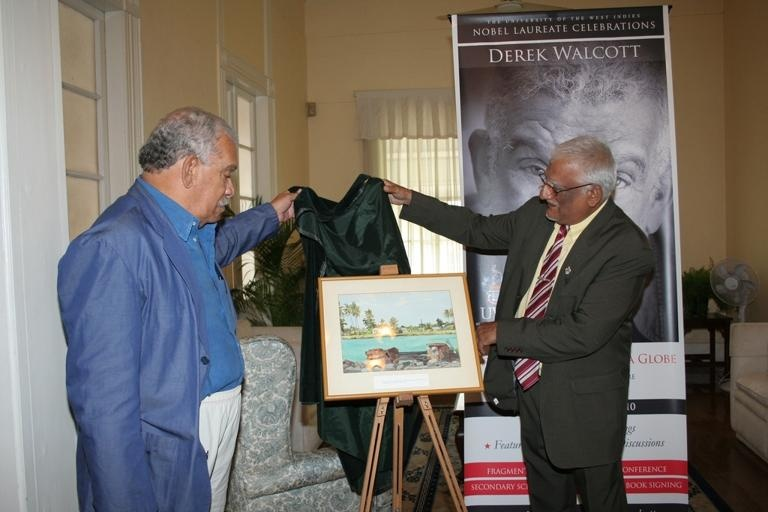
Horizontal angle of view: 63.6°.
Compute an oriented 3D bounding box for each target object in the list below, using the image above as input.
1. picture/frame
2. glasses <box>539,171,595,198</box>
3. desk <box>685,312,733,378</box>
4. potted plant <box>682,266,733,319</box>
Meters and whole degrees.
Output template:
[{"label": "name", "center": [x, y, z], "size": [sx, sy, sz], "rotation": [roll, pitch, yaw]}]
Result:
[{"label": "picture/frame", "center": [0.073, 0.437, 3.307], "size": [0.657, 0.552, 0.036], "rotation": [-2, -22, -8]}, {"label": "glasses", "center": [0.987, -0.390, 3.346], "size": [0.189, 0.057, 0.196], "rotation": [-7, 19, -4]}, {"label": "desk", "center": [3.375, 0.977, 6.560], "size": [0.561, 0.582, 0.627], "rotation": [1, -4, 16]}, {"label": "potted plant", "center": [3.397, 0.421, 6.507], "size": [0.312, 0.522, 0.450], "rotation": [9, 2, 21]}]
